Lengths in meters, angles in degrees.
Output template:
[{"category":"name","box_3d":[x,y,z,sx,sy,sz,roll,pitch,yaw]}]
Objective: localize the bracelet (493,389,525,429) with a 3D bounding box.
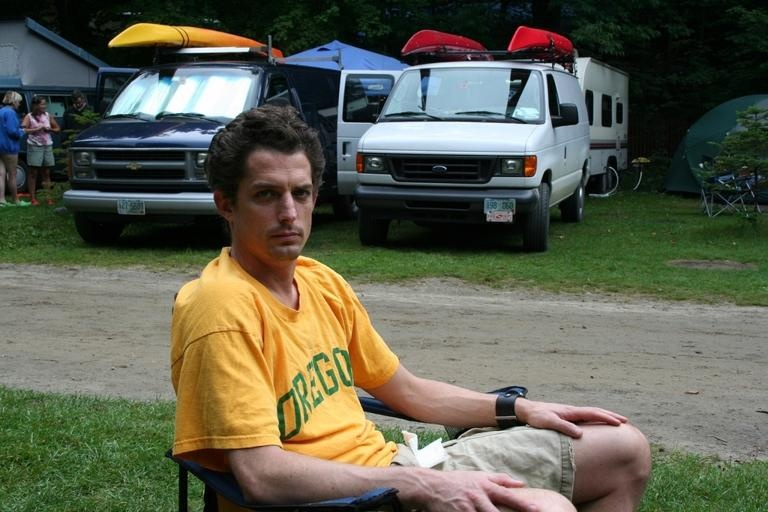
[{"category":"bracelet","box_3d":[0.727,0.922,5.415,0.112,0.202,0.178,6,-4,-5]}]

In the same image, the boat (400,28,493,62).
[{"category":"boat","box_3d":[1.434,-3.680,15.980,0.638,0.564,2.810,13,14,35]}]

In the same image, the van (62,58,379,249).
[{"category":"van","box_3d":[-2.237,-1.799,14.542,3.019,1.824,5.061,2,3,24]}]

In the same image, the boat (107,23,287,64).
[{"category":"boat","box_3d":[-3.100,-3.418,14.303,2.513,0.502,1.689,-5,14,-23]}]
